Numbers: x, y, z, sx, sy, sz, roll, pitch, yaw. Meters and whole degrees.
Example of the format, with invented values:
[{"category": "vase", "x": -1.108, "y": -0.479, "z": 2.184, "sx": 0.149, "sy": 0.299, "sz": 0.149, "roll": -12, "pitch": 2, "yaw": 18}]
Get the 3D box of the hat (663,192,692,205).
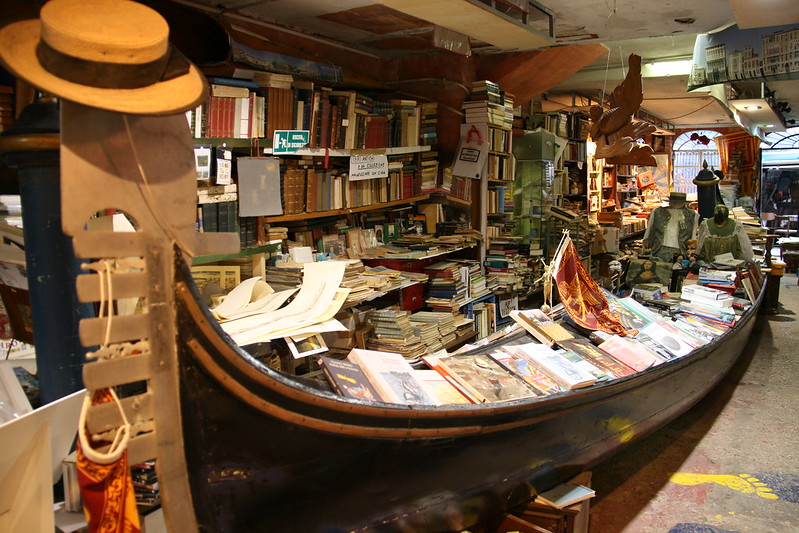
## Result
[{"category": "hat", "x": 3.870, "y": -0.953, "z": 7.626, "sx": 0.283, "sy": 0.083, "sz": 0.285, "roll": -5, "pitch": 6, "yaw": -43}]
